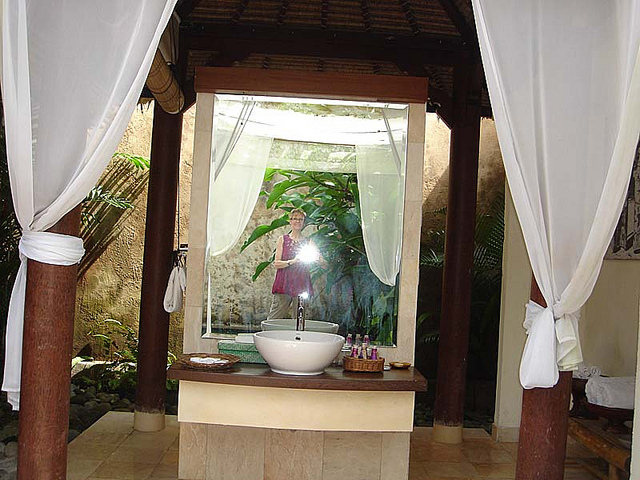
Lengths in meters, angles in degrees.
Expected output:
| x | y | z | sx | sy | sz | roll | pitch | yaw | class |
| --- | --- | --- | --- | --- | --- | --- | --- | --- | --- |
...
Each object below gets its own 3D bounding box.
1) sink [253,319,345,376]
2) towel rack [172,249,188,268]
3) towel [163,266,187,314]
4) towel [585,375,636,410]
| x | y | z | sx | sy | sz | roll | pitch | yaw | class |
| --- | --- | --- | --- | --- | --- | --- | --- | --- | --- |
| -0.127 | 0.661 | 3.140 | 0.539 | 0.296 | 0.541 | 3 | -5 | -2 | sink |
| -1.126 | 0.152 | 4.066 | 0.113 | 0.188 | 0.122 | 0 | 2 | 8 | towel rack |
| -1.054 | 0.354 | 3.749 | 0.167 | 0.376 | 0.149 | 23 | 21 | 37 | towel |
| 1.993 | 1.045 | 3.482 | 0.293 | 0.172 | 0.280 | 0 | -5 | 28 | towel |
